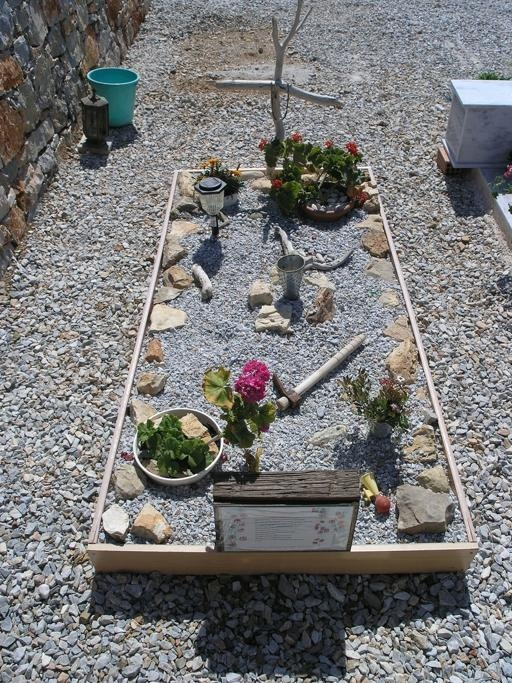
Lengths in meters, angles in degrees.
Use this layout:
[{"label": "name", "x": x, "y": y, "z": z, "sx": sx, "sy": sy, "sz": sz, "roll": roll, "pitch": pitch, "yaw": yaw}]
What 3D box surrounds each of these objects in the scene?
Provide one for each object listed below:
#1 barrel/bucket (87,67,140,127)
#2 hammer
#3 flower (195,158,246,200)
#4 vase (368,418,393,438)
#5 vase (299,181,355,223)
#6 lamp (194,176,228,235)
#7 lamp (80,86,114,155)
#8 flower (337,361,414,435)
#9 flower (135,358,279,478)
[{"label": "barrel/bucket", "x": -1.382, "y": -2.553, "z": 6.815, "sx": 0.575, "sy": 0.652, "sz": 0.612, "roll": 1, "pitch": 46, "yaw": -1}, {"label": "hammer", "x": 0.376, "y": 0.136, "z": 4.127, "sx": 0.681, "sy": 0.073, "sz": 0.242, "roll": -36, "pitch": 65, "yaw": -15}, {"label": "flower", "x": -0.281, "y": -1.388, "z": 5.610, "sx": 0.247, "sy": 0.547, "sz": 0.261, "roll": 21, "pitch": 36, "yaw": 31}, {"label": "vase", "x": 0.682, "y": 0.483, "z": 3.703, "sx": 0.107, "sy": 0.082, "sz": 0.107, "roll": 6, "pitch": 36, "yaw": 8}, {"label": "vase", "x": 0.614, "y": -1.120, "z": 5.541, "sx": 0.393, "sy": 0.309, "sz": 0.497, "roll": 17, "pitch": 44, "yaw": 21}, {"label": "lamp", "x": -0.345, "y": -1.043, "z": 5.187, "sx": 0.309, "sy": 0.428, "sz": 0.269, "roll": -2, "pitch": 36, "yaw": -5}, {"label": "lamp", "x": -1.468, "y": -2.069, "z": 6.347, "sx": 0.290, "sy": 0.592, "sz": 0.292, "roll": -2, "pitch": 43, "yaw": -2}, {"label": "flower", "x": 0.656, "y": 0.307, "z": 3.788, "sx": 0.459, "sy": 0.330, "sz": 0.515, "roll": -5, "pitch": 34, "yaw": -7}, {"label": "flower", "x": -0.187, "y": 0.264, "z": 3.507, "sx": 0.735, "sy": 0.620, "sz": 0.907, "roll": 2, "pitch": 36, "yaw": 2}]
